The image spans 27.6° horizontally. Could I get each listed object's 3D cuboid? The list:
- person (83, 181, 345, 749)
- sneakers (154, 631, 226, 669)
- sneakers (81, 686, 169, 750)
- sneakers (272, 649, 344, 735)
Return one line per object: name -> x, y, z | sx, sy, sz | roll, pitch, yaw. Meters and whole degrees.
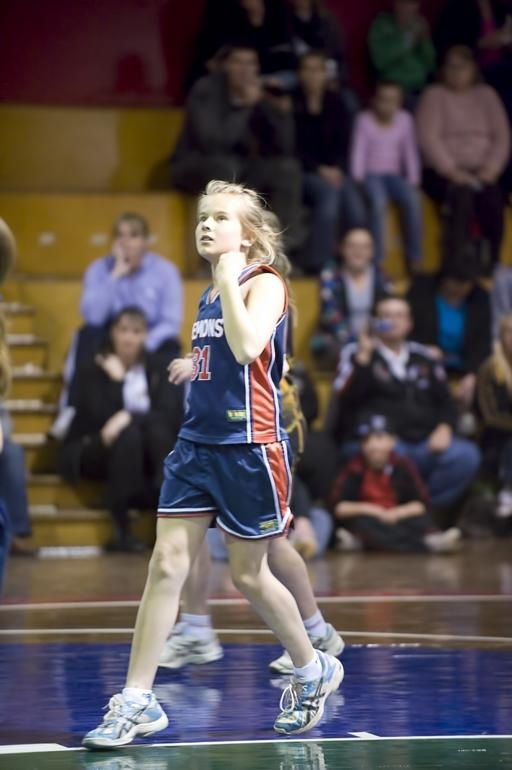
person -> -0.105, 0.252, 2.528 | 0.545, 1.464, 0.929 | -2, 14, 10
sneakers -> -0.214, 0.853, 3.452 | 0.260, 0.102, 0.090 | -6, 10, -22
sneakers -> -0.293, 0.729, 2.308 | 0.241, 0.108, 0.084 | -2, -5, -45
sneakers -> 0.131, 0.753, 2.573 | 0.096, 0.103, 0.259 | -13, 26, 42
